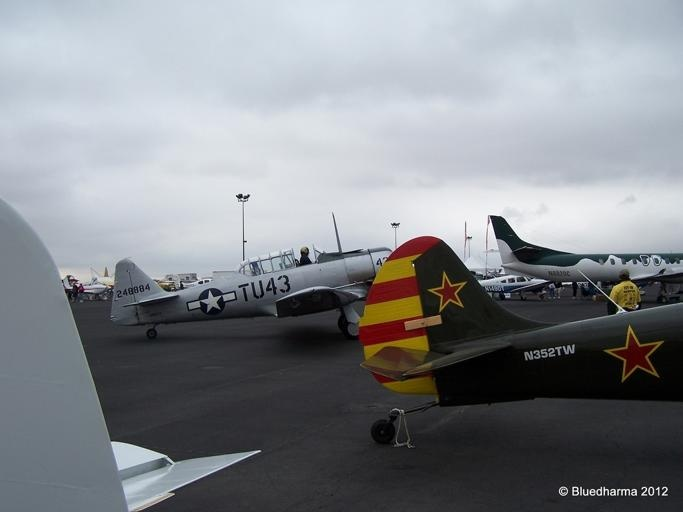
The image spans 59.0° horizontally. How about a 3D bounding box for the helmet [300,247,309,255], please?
[{"bbox_3d":[-0.732,-0.094,11.802,0.095,0.101,0.119,25,45,36],"label":"helmet"}]
